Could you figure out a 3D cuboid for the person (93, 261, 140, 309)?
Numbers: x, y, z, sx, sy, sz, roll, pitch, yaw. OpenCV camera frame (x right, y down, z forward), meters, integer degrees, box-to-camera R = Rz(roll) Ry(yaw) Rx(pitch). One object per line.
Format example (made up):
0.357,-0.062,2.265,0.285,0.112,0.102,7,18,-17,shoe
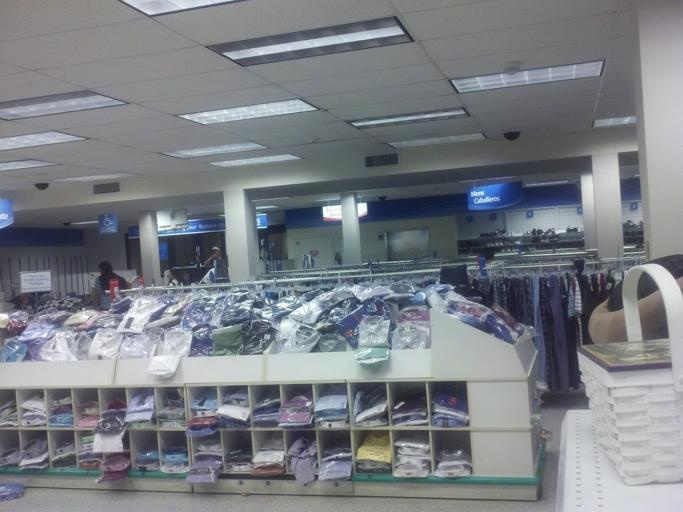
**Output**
-4.463,0.533,10.734,0.716,1.514,0.492,-2,1,-10,person
